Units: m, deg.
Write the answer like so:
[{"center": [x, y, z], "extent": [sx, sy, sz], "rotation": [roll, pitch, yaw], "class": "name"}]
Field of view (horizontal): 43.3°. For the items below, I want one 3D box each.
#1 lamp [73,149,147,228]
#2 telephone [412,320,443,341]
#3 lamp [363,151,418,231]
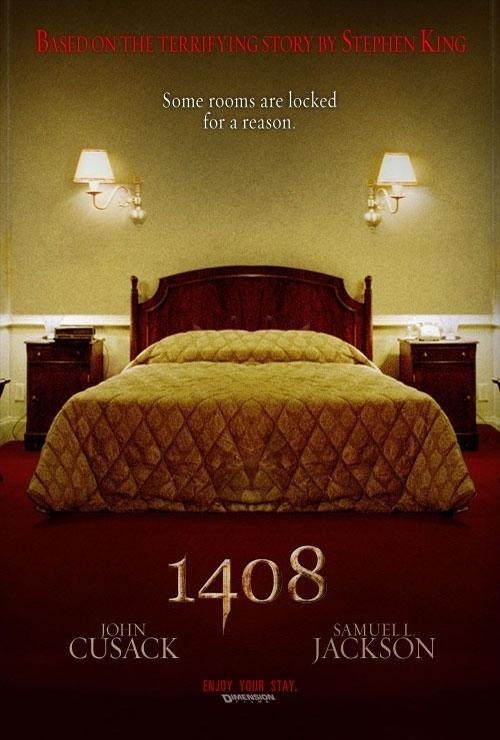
[{"center": [-0.946, -1.276, 4.429], "extent": [0.614, 0.621, 0.329], "rotation": [-3, 7, -40], "class": "lamp"}, {"center": [1.237, -0.269, 4.369], "extent": [0.127, 0.096, 0.179], "rotation": [-1, 2, 4], "class": "telephone"}, {"center": [0.980, -1.250, 4.369], "extent": [0.357, 0.504, 0.266], "rotation": [1, 6, 11], "class": "lamp"}]
